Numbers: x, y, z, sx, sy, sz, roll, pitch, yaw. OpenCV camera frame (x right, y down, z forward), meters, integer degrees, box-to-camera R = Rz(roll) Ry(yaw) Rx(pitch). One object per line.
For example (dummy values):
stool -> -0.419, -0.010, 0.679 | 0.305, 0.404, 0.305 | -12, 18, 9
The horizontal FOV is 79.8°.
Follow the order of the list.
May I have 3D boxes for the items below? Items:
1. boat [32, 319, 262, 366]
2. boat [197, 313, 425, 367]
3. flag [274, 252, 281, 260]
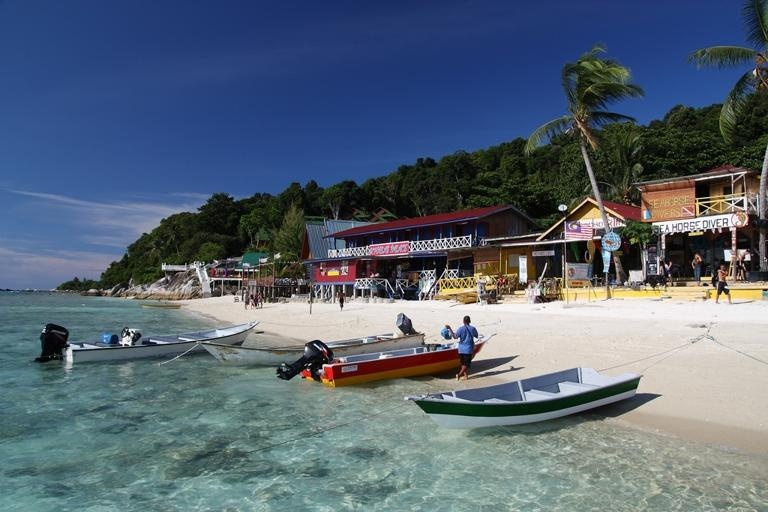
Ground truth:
boat -> -12.286, 4.420, 23.865 | 9.657, 1.723, 2.424 | 0, 2, -36
boat -> -3.322, 3.967, 22.287 | 9.507, 1.984, 2.669 | -1, -9, -26
flag -> -14.661, -0.054, 62.961 | 0.983, 1.047, 0.088 | 17, 43, 33
